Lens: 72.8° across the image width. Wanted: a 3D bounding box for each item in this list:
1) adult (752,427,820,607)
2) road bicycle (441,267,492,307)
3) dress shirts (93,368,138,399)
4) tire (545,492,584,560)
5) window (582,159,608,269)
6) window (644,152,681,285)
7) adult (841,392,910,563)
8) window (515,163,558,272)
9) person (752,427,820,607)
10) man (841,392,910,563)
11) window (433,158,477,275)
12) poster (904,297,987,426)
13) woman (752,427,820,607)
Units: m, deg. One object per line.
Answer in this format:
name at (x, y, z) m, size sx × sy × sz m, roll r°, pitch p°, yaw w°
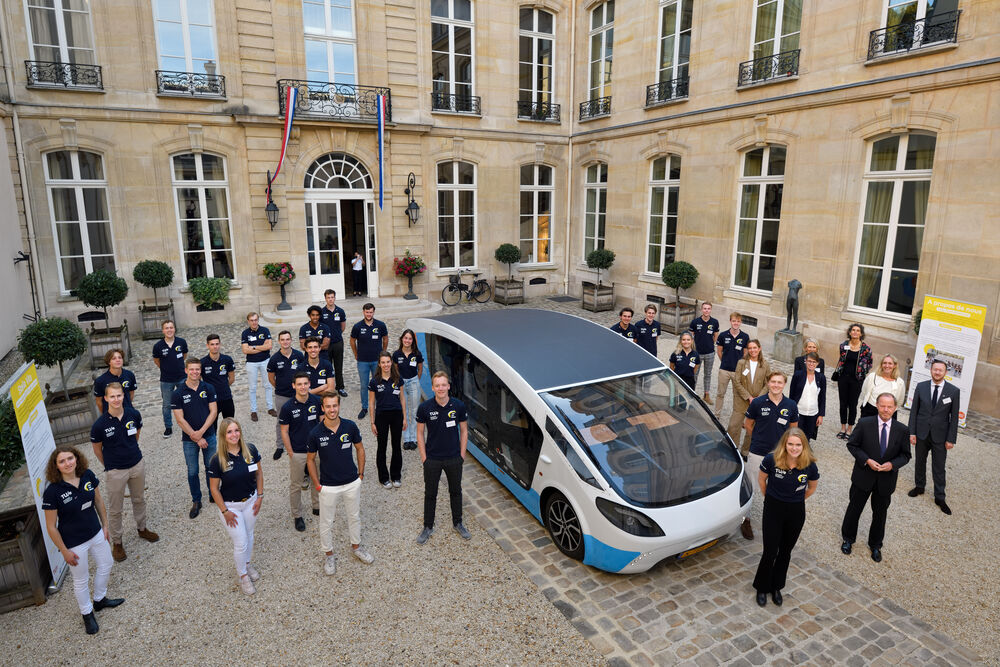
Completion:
adult at (3.952, 2.578, 9.426) m, size 0.754 × 2.415 × 0.504 m, roll 0°, pitch 13°, yaw 9°
road bicycle at (-1.186, -1.560, 22.570) m, size 1.772 × 1.063 × 0.942 m, roll -9°, pitch 19°, yaw -24°
dress shirts at (-6.404, 0.841, 11.275) m, size 0.567 × 0.578 × 0.308 m, roll -8°, pitch 23°, yaw -30°
tire at (0.936, 2.873, 10.213) m, size 0.141 × 0.987 × 0.858 m, roll -11°, pitch 15°, yaw -34°
window at (3.210, -4.148, 23.055) m, size 0.439 × 3.144 × 1.397 m, roll -7°, pitch 13°, yaw -22°
window at (4.861, -3.534, 20.375) m, size 0.428 × 3.489 × 1.202 m, roll -10°, pitch 15°, yaw -32°
adult at (5.624, 2.140, 10.188) m, size 0.849 × 2.488 × 0.568 m, roll 2°, pitch 13°, yaw 18°
window at (1.293, -4.152, 23.728) m, size 1.360 × 3.341 × 0.416 m, roll -9°, pitch 14°, yaw -27°
person at (3.947, 2.578, 9.427) m, size 0.744 × 2.415 × 0.504 m, roll 0°, pitch 13°, yaw 9°
man at (5.624, 2.140, 10.187) m, size 0.848 × 2.488 × 0.569 m, roll 2°, pitch 13°, yaw 18°
window at (-1.447, -3.905, 22.465) m, size 1.446 × 3.458 × 0.418 m, roll -10°, pitch 15°, yaw -33°
poster at (8.915, 0.568, 13.604) m, size 0.778 × 2.649 × 1.225 m, roll -17°, pitch 24°, yaw -29°
woman at (3.946, 2.578, 9.427) m, size 0.742 × 2.415 × 0.504 m, roll 0°, pitch 13°, yaw 9°
